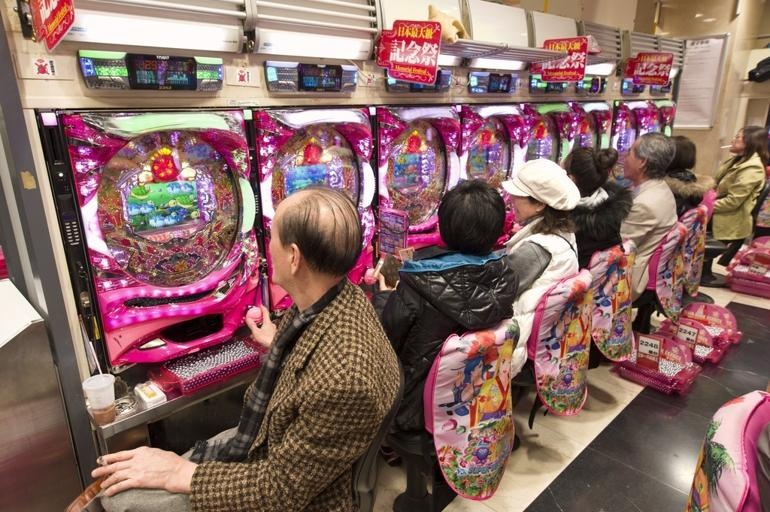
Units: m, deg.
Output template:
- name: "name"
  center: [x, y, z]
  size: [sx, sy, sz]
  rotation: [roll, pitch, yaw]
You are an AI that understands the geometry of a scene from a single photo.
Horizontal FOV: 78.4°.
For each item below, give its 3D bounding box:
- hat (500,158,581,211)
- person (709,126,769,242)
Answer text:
- name: "hat"
  center: [1.046, -0.447, 3.165]
  size: [0.444, 0.204, 0.301]
  rotation: [20, 34, -1]
- name: "person"
  center: [4.336, -0.862, 5.731]
  size: [0.448, 1.368, 0.576]
  rotation: [11, 24, 33]
